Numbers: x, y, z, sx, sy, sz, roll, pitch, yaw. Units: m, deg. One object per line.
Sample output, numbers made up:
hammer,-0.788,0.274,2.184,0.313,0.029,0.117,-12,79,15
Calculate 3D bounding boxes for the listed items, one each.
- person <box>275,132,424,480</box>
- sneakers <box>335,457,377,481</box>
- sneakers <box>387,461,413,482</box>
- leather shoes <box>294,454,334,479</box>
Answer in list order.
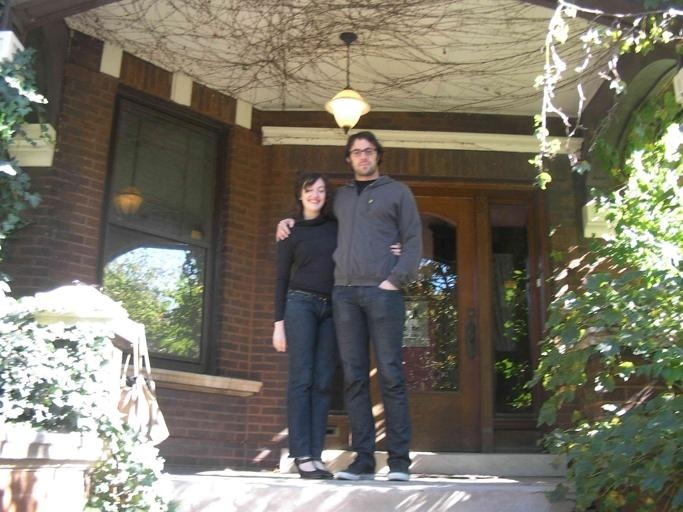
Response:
person,0.207,0.251,4.112,0.528,2.141,0.375,3,-17,-4
sneakers,0.090,1.249,3.905,0.275,0.103,0.098,3,-11,-15
sneakers,0.333,1.238,3.865,0.124,0.111,0.241,0,-14,5
leather shoes,-0.156,1.257,3.956,0.104,0.086,0.277,10,-16,-36
